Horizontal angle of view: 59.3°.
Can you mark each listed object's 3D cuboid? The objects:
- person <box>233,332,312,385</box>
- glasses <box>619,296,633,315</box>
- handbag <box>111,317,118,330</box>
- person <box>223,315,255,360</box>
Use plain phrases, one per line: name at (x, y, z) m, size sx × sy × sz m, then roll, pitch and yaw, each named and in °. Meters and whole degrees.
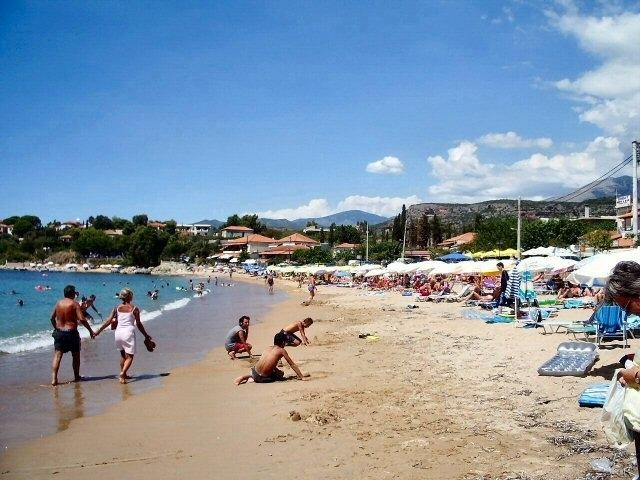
person at (-1.193, 2.556, 12.333) m, size 1.009 × 1.034 × 1.844 m, roll 12°, pitch 6°, yaw 38°
glasses at (3.551, 0.749, 6.514) m, size 0.054 × 0.170 × 0.168 m, roll -3°, pitch -7°, yaw -24°
handbag at (-4.250, 1.695, 11.566) m, size 0.120 × 0.347 × 0.147 m, roll 4°, pitch 10°, yaw -8°
person at (-2.163, 2.622, 15.099) m, size 0.766 × 1.105 × 0.691 m, roll 1°, pitch -7°, yaw 10°
